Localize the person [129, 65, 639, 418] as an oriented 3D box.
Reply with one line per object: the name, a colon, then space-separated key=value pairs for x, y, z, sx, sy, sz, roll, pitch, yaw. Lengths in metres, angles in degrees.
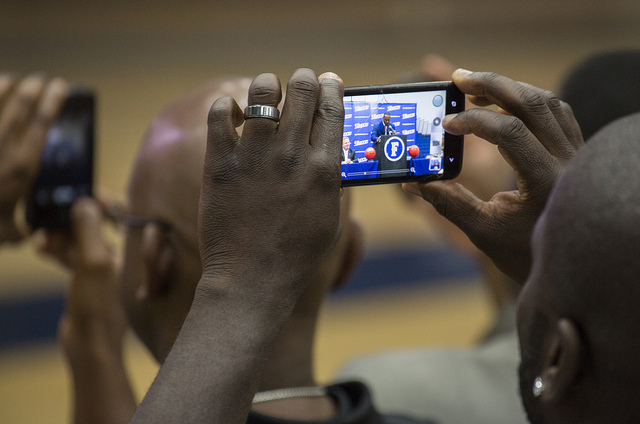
person: x=0.089 y=0.038 z=0.949 sx=0.671 sy=0.489 sz=0.535 roll=-3 pitch=20 yaw=-5

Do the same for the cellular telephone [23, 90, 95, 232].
cellular telephone: x=-0.391 y=-0.075 z=0.985 sx=0.119 sy=0.195 sz=0.059 roll=-9 pitch=20 yaw=-22
